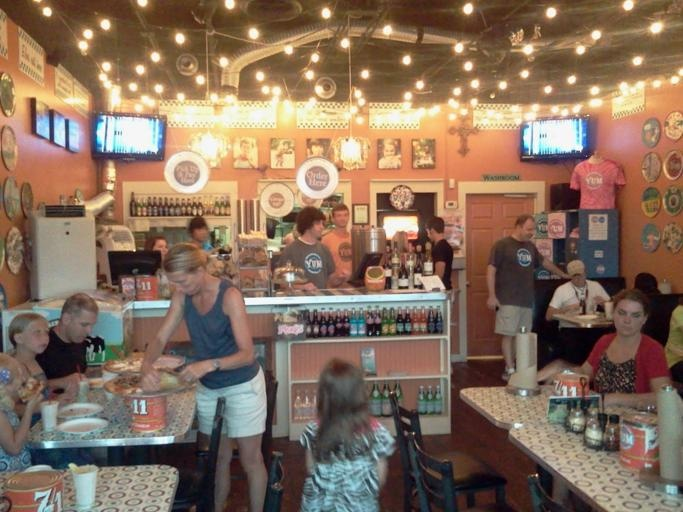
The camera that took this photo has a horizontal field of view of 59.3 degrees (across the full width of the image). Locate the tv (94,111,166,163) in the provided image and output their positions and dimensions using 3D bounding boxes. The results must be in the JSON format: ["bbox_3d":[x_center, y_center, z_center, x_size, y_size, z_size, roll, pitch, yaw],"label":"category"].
[{"bbox_3d":[-2.916,-1.643,8.192,0.954,0.613,0.261,-2,2,-27],"label":"tv"}]

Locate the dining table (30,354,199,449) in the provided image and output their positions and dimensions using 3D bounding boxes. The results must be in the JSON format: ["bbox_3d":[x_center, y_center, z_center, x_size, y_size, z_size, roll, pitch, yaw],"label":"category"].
[{"bbox_3d":[-1.314,0.935,3.651,0.931,0.255,0.869,-1,2,4],"label":"dining table"}]

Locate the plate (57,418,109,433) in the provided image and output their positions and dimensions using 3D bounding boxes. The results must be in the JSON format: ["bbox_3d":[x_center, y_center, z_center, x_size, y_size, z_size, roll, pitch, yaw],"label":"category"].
[{"bbox_3d":[-1.480,0.971,3.400,0.253,0.040,0.218,0,2,37],"label":"plate"}]

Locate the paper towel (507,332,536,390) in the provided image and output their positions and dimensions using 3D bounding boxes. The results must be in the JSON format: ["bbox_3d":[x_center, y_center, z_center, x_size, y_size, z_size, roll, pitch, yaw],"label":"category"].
[{"bbox_3d":[1.158,0.663,3.824,0.180,0.381,0.332,0,2,17],"label":"paper towel"}]

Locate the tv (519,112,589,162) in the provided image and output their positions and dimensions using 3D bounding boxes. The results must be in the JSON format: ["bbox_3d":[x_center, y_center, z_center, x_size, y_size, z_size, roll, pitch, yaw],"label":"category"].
[{"bbox_3d":[3.151,-1.754,8.768,0.755,0.498,0.105,1,3,21],"label":"tv"}]

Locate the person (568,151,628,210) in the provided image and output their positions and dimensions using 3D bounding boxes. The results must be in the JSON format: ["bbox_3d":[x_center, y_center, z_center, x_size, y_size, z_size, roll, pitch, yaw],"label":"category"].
[{"bbox_3d":[3.518,-1.005,8.194,0.690,0.754,0.315,0,2,25],"label":"person"}]

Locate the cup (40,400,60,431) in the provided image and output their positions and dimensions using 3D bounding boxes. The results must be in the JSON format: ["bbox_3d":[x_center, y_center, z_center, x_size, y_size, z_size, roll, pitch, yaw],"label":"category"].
[{"bbox_3d":[-1.679,0.913,3.427,0.085,0.160,0.167,-2,2,-27],"label":"cup"}]

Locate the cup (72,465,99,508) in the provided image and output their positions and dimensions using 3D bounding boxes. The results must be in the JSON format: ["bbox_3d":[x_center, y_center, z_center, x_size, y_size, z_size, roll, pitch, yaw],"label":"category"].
[{"bbox_3d":[-1.191,1.042,2.756,0.111,0.192,0.200,-2,2,-24],"label":"cup"}]

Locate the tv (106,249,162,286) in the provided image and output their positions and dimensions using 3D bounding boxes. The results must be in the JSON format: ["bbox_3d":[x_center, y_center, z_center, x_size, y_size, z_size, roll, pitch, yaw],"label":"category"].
[{"bbox_3d":[-2.152,0.120,6.237,0.519,0.385,0.287,0,5,-19],"label":"tv"}]

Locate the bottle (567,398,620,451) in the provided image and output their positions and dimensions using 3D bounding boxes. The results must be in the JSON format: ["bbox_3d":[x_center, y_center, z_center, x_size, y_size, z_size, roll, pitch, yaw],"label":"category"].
[{"bbox_3d":[1.330,0.898,3.166,0.159,0.109,0.245,1,-3,3],"label":"bottle"}]

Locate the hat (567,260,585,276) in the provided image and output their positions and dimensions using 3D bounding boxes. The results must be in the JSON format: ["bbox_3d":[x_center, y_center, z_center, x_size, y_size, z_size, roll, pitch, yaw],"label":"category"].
[{"bbox_3d":[2.712,0.164,6.883,0.151,0.211,0.214,0,-34,6],"label":"hat"}]

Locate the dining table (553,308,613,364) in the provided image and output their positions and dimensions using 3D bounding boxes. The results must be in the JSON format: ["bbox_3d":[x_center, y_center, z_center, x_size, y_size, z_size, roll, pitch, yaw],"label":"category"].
[{"bbox_3d":[2.630,0.913,6.404,0.591,0.636,0.632,1,-1,4],"label":"dining table"}]

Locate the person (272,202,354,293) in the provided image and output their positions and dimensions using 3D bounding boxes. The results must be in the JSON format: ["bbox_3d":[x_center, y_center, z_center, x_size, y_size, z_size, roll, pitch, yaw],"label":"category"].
[{"bbox_3d":[-0.260,-0.090,6.043,0.533,0.874,1.141,0,2,23],"label":"person"}]
